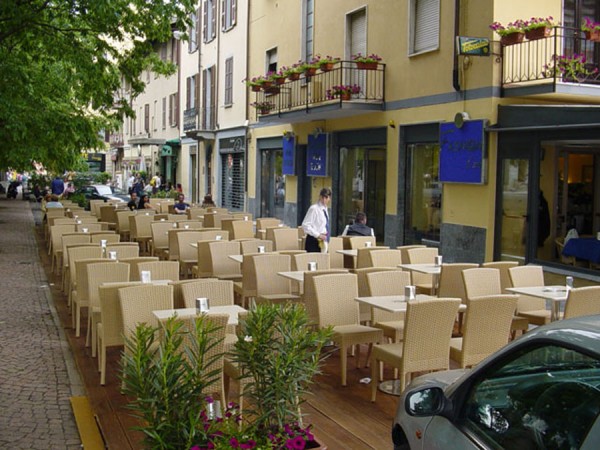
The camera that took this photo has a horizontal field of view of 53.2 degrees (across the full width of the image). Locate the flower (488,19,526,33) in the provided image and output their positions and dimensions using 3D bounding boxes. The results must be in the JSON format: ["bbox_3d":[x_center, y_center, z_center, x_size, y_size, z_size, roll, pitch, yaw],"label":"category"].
[{"bbox_3d":[4.133,-3.908,11.855,0.499,0.232,0.414,-1,6,26],"label":"flower"}]

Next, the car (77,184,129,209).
[{"bbox_3d":[-9.048,-1.515,28.273,3.292,1.385,1.613,3,3,37],"label":"car"}]

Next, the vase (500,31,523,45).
[{"bbox_3d":[4.174,-3.726,11.879,0.212,0.183,0.347,0,0,-24],"label":"vase"}]
